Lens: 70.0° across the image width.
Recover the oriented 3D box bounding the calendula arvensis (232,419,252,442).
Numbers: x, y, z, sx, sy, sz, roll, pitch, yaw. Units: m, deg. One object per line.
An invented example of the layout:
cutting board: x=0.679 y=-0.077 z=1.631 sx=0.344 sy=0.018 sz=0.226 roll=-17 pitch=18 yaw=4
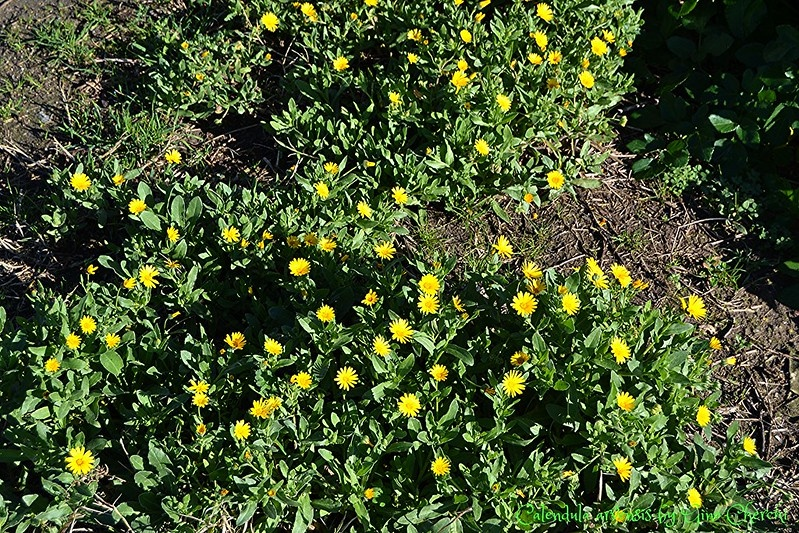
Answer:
calendula arvensis: x=-0.792 y=0.824 z=2.872 sx=0.080 sy=0.070 sz=0.084 roll=19 pitch=46 yaw=9
